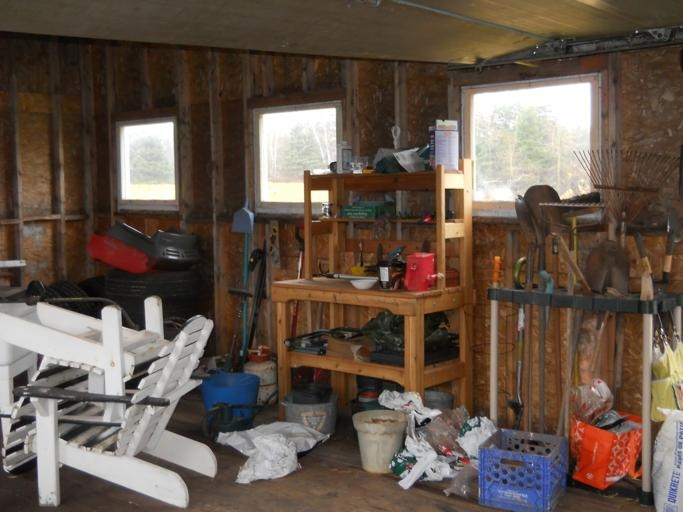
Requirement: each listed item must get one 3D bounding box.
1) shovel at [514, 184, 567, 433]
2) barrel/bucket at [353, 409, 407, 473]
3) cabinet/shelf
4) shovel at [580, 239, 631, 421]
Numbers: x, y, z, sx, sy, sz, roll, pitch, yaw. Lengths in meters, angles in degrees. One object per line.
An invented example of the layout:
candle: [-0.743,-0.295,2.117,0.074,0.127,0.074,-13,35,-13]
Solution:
shovel: [1.276,0.392,4.194,0.300,1.708,0.575,1,11,15]
barrel/bucket: [0.209,1.179,4.138,0.358,0.304,0.362,1,2,0]
cabinet/shelf: [0.216,0.248,4.802,1.482,1.904,0.986,4,12,30]
shovel: [1.541,0.431,3.873,0.325,1.052,0.254,-7,12,-27]
